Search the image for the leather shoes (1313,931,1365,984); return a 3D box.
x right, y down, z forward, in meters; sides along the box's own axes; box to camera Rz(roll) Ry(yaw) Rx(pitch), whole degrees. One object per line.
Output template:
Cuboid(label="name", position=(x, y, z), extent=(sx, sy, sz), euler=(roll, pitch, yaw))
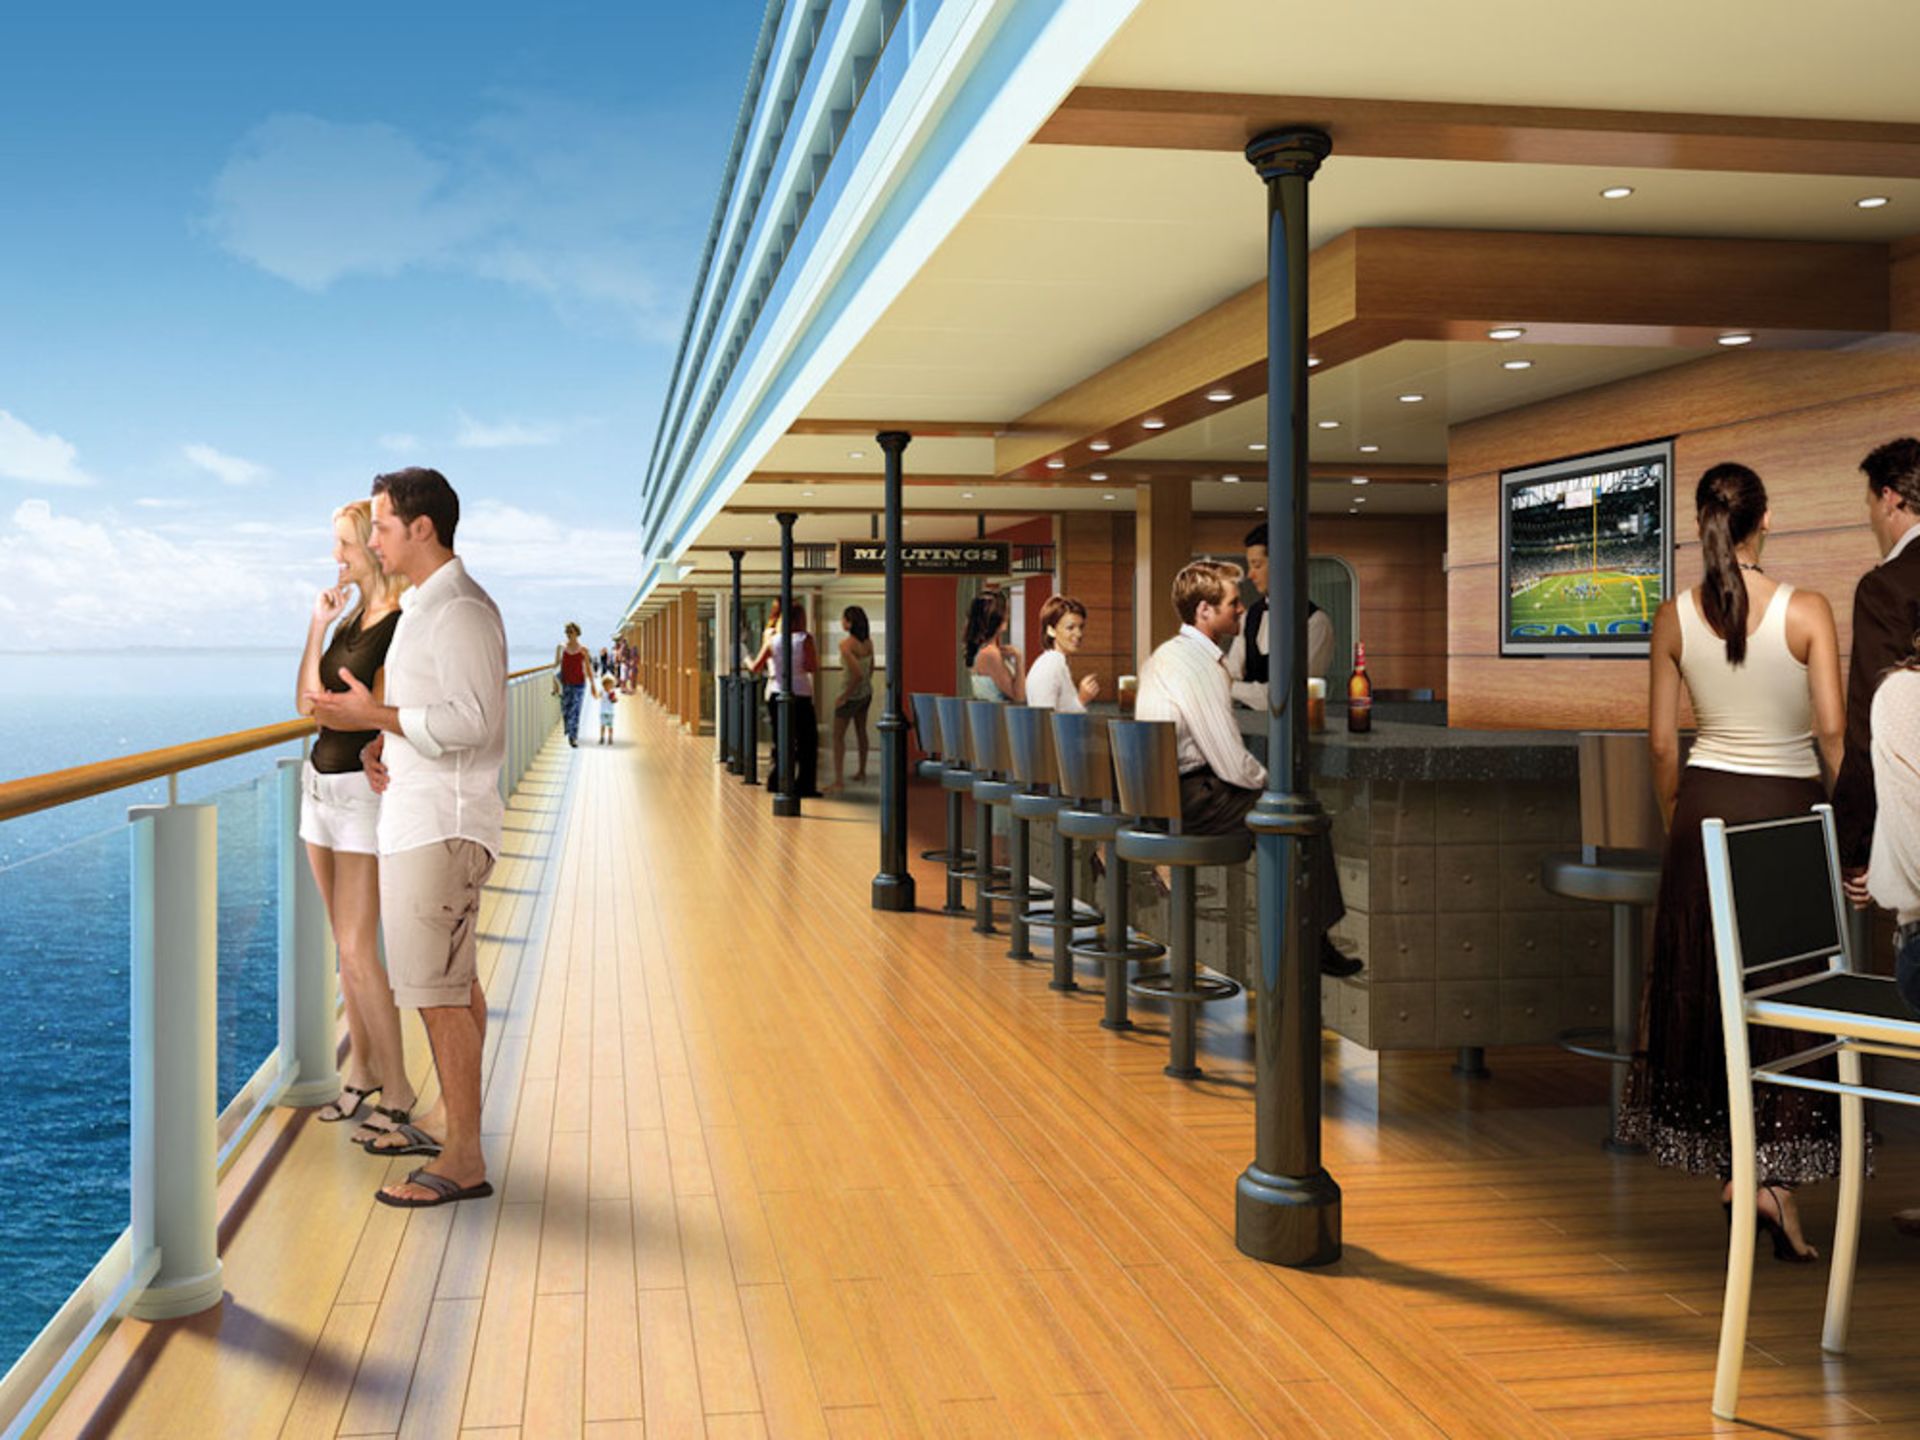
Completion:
Cuboid(label="leather shoes", position=(1.384, 0.877, 5.192), extent=(0.149, 0.165, 0.242), euler=(0, 3, -8))

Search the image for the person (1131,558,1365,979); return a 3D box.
Cuboid(label="person", position=(1.151, 0.224, 5.608), extent=(0.881, 1.647, 0.604), euler=(-2, 1, -16))

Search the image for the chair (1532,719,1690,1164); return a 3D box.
Cuboid(label="chair", position=(2.235, 0.742, 4.743), extent=(0.569, 1.347, 0.585), euler=(-2, -2, -5))

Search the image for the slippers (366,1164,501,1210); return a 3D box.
Cuboid(label="slippers", position=(-1.558, 1.359, 4.147), extent=(0.233, 0.071, 0.122), euler=(4, -7, -27))

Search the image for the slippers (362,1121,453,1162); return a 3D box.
Cuboid(label="slippers", position=(-1.792, 1.339, 4.511), extent=(0.308, 0.099, 0.115), euler=(4, -4, -18))

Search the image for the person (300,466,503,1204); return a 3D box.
Cuboid(label="person", position=(-1.614, 0.337, 4.135), extent=(0.531, 2.160, 0.556), euler=(-1, 3, -24))
